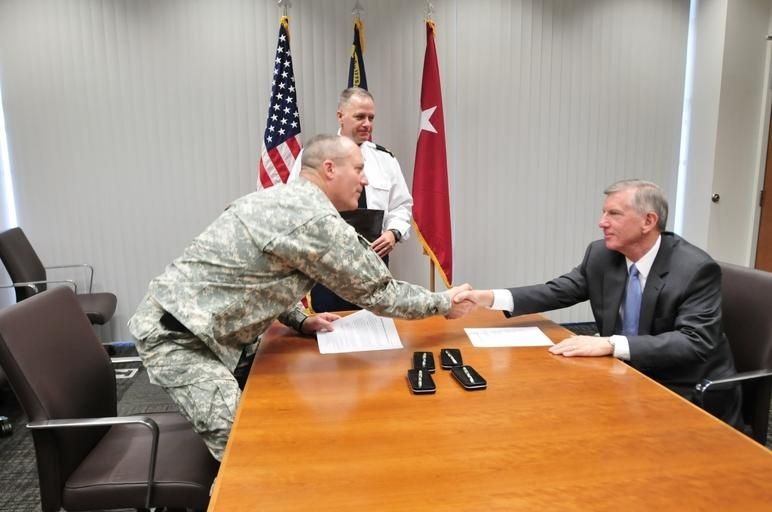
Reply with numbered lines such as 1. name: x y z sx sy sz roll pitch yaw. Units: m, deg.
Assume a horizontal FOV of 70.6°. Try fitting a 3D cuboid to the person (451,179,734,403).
1. person: 1.156 0.139 3.153 1.350 1.246 0.912 -2 -1 -13
